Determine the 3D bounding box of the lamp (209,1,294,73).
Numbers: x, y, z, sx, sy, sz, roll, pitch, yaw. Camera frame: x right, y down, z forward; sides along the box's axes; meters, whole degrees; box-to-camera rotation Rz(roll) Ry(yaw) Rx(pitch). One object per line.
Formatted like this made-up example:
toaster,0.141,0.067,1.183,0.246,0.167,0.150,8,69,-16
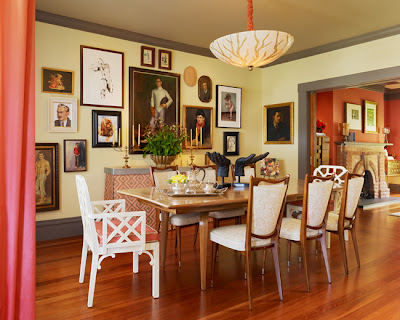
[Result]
lamp,0.512,-1.088,3.429,0.771,0.904,0.783,0,-1,-24

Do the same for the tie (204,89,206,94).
tie,0.109,-1.312,5.947,0.035,0.038,0.009,31,0,8

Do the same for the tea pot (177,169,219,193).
tea pot,-0.011,0.253,3.354,0.297,0.135,0.299,0,-3,0

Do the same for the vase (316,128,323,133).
vase,2.751,-0.684,7.270,0.133,0.133,0.139,3,1,3

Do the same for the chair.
chair,-0.312,0.674,3.088,1.659,1.093,1.233,-1,4,-18

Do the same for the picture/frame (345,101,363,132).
picture/frame,3.894,-1.138,8.065,0.806,0.769,0.080,2,-4,-42

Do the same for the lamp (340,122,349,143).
lamp,3.590,-0.707,7.811,0.327,0.432,0.153,-3,4,-38

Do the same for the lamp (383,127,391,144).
lamp,5.460,-0.736,9.295,0.158,0.462,0.666,2,4,33
